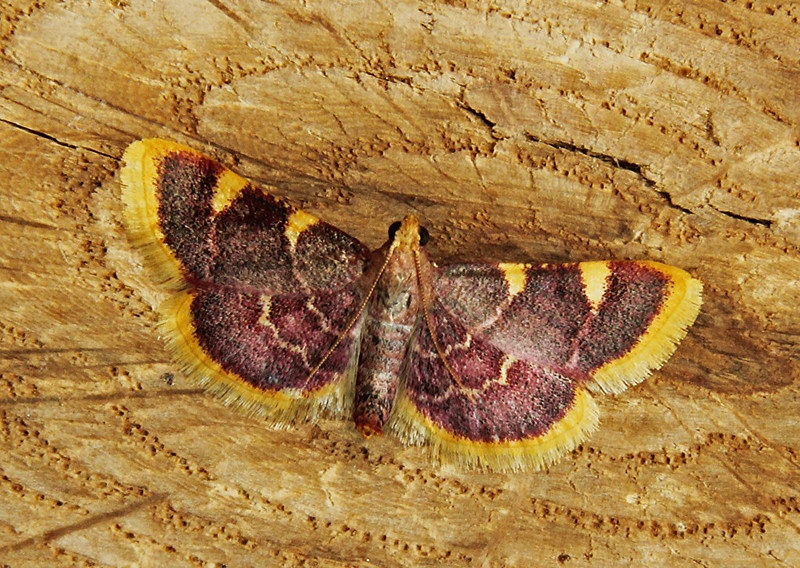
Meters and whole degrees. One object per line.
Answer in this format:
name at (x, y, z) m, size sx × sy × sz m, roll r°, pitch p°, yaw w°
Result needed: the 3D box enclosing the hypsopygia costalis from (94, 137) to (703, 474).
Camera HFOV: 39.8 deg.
hypsopygia costalis at (-0.066, 0.193, 5.332) m, size 2.702 × 0.473 × 1.173 m, roll 14°, pitch 84°, yaw 4°
